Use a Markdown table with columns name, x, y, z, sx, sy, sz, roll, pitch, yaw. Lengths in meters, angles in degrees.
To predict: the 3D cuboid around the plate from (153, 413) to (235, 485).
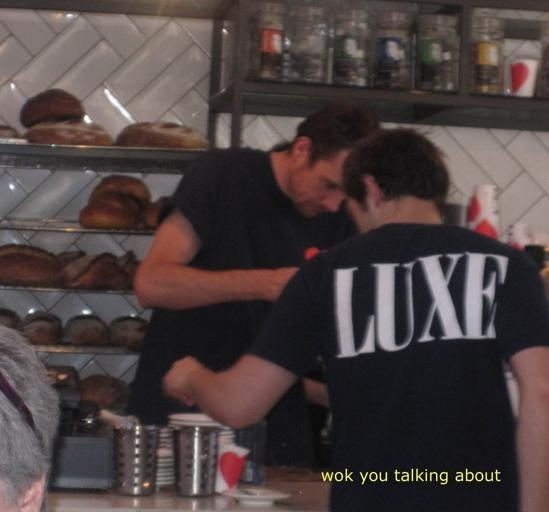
| name | x | y | z | sx | sy | sz | roll | pitch | yaw |
| --- | --- | --- | --- | --- | --- | --- | --- | --- | --- |
| plate | -0.209 | 0.482 | 2.669 | 0.242 | 0.166 | 0.195 | 1 | -5 | -2 |
